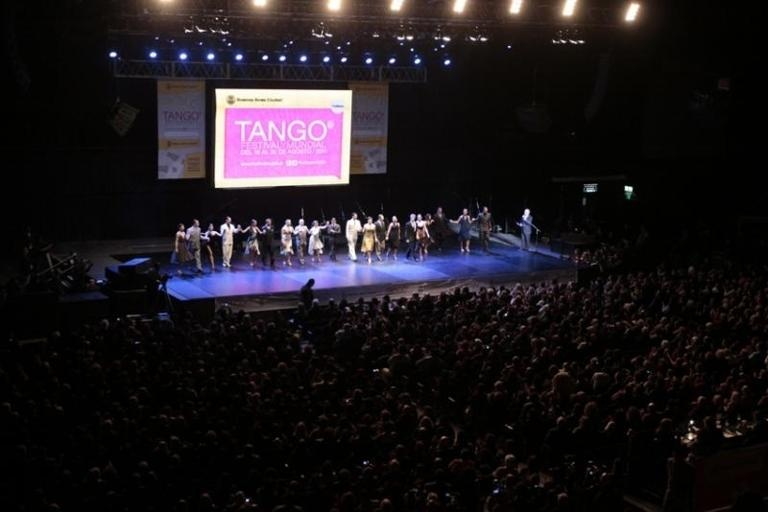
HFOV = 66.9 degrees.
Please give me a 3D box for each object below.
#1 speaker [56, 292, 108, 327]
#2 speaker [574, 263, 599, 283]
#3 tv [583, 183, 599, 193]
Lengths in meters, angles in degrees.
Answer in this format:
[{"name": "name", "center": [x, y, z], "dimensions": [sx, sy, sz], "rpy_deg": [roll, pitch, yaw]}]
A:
[{"name": "speaker", "center": [-7.929, 1.112, 15.307], "dimensions": [1.324, 0.914, 0.701], "rpy_deg": [0, -1, -30]}, {"name": "speaker", "center": [6.234, 0.513, 17.877], "dimensions": [0.611, 0.612, 0.551], "rpy_deg": [3, 5, 39]}, {"name": "tv", "center": [9.791, -3.230, 27.537], "dimensions": [0.673, 0.508, 0.200], "rpy_deg": [5, 12, 20]}]
